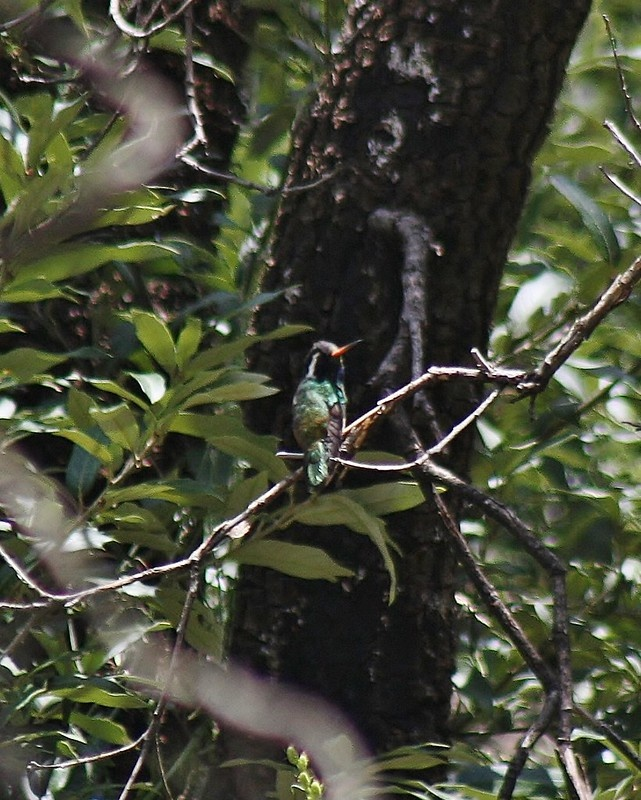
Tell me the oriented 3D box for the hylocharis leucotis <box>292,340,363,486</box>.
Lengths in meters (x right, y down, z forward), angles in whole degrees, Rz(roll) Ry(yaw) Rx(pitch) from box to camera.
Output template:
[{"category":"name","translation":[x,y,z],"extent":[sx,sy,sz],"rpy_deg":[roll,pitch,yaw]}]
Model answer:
[{"category":"hylocharis leucotis","translation":[0.000,0.019,1.384],"extent":[0.095,0.152,0.050],"rpy_deg":[15,-21,-30]}]
